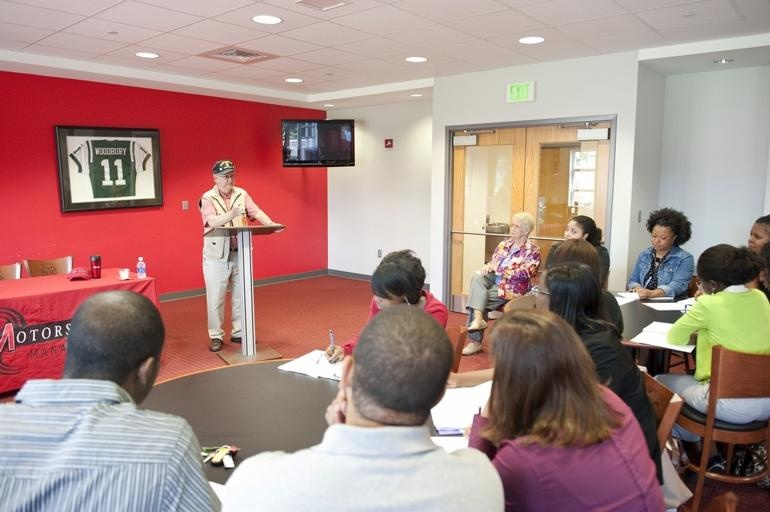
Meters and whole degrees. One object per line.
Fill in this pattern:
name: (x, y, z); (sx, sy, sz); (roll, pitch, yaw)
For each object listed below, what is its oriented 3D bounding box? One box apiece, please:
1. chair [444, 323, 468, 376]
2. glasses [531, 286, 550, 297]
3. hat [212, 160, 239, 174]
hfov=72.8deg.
chair: (0.434, 0.561, 3.305); (0.128, 0.116, 0.411); (11, 36, -2)
glasses: (0.856, 0.197, 2.882); (0.100, 0.029, 0.098); (3, 6, 28)
hat: (-1.737, -0.957, 5.656); (0.219, 0.153, 0.197); (0, 6, 10)
